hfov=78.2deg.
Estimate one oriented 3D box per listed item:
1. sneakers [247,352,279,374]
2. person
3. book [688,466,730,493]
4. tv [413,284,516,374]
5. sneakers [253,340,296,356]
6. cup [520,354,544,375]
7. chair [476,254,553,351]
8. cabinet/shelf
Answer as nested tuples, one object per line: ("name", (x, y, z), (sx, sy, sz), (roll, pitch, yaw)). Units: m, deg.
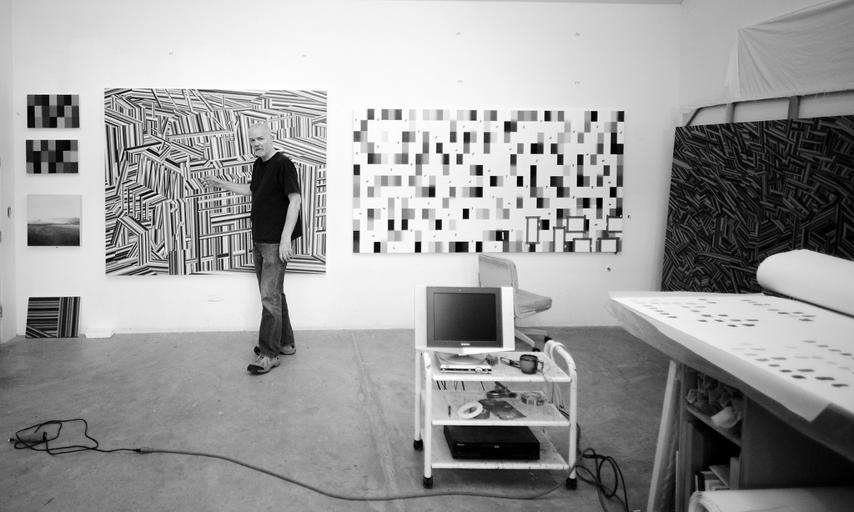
("sneakers", (-1.640, 1.056, 5.191), (0.212, 0.150, 0.344), (6, 15, 19))
("person", (-1.551, -0.080, 5.217), (0.563, 2.405, 0.799), (-2, 15, -13))
("book", (1.626, 1.287, 3.011), (0.167, 0.155, 0.221), (-1, 5, 6))
("tv", (0.302, 0.499, 3.897), (0.706, 0.576, 0.432), (-2, 8, 17))
("sneakers", (-1.629, 0.985, 5.538), (0.473, 0.203, 0.169), (2, 0, -16))
("cup", (0.719, 0.755, 3.646), (0.155, 0.104, 0.112), (3, 4, 44))
("chair", (1.016, 0.510, 6.159), (0.727, 1.037, 0.977), (-5, 10, -25))
("cabinet/shelf", (0.472, 1.074, 3.927), (1.251, 0.974, 0.973), (0, 9, -1))
